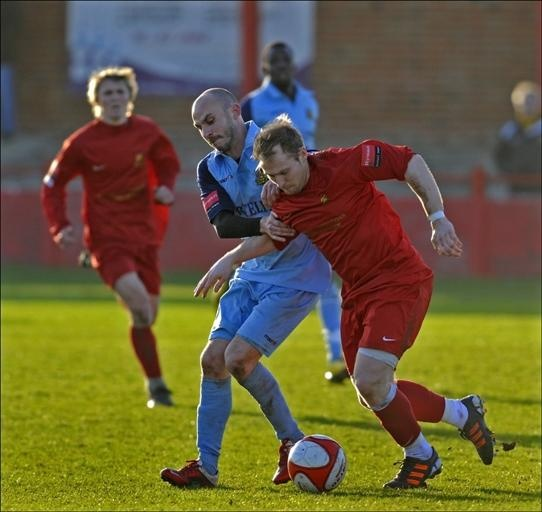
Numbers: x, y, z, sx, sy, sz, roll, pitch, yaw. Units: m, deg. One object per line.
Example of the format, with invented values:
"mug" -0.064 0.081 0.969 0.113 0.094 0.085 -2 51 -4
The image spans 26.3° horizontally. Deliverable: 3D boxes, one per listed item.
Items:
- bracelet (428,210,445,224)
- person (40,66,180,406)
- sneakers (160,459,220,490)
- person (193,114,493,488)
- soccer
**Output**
"bracelet" 0.972 -0.232 6.848 0.080 0.052 0.080 -35 2 -8
"person" -1.095 -0.109 8.119 0.930 2.433 0.464 -2 9 -8
"sneakers" -0.490 1.325 6.967 0.357 0.183 0.136 13 -20 -7
"person" 0.547 0.261 6.877 1.138 2.203 0.442 0 9 8
"soccer" 0.273 1.232 6.862 0.304 0.310 0.297 37 -17 19
